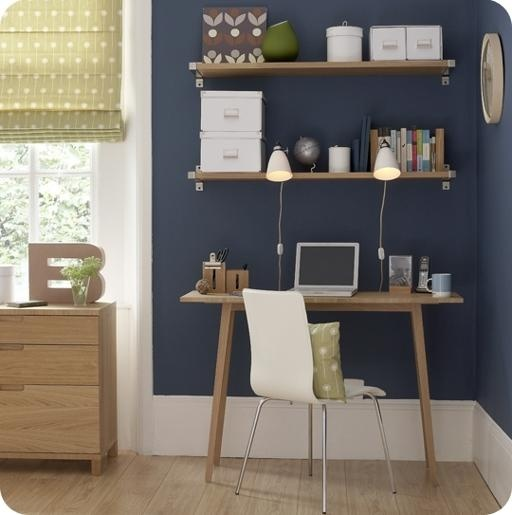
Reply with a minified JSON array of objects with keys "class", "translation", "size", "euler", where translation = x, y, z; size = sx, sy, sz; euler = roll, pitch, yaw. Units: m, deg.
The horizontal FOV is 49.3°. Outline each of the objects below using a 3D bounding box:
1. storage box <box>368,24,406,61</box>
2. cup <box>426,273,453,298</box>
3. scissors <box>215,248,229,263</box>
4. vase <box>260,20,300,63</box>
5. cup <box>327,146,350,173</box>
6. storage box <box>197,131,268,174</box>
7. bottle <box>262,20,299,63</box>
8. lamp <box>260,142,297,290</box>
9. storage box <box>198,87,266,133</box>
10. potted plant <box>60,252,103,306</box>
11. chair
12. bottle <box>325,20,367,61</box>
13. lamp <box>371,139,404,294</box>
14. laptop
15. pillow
[{"class":"storage box","translation":[0.691,-1.053,2.941],"size":[0.186,0.181,0.215],"euler":[1,-15,9]},{"class":"cup","translation":[0.877,0.142,2.706],"size":[0.149,0.168,0.104],"euler":[0,-3,24]},{"class":"scissors","translation":[-0.173,0.004,2.892],"size":[0.017,0.074,0.065],"euler":[18,1,-35]},{"class":"vase","translation":[0.127,-1.100,2.863],"size":[0.158,0.215,0.193],"euler":[1,6,3]},{"class":"cup","translation":[0.427,-0.493,2.925],"size":[0.112,0.160,0.128],"euler":[0,-3,7]},{"class":"storage box","translation":[-0.124,-0.541,2.889],"size":[0.210,0.169,0.240],"euler":[0,2,1]},{"class":"bottle","translation":[0.129,-1.096,2.951],"size":[0.206,0.262,0.219],"euler":[-1,4,0]},{"class":"lamp","translation":[0.118,-0.200,2.894],"size":[0.141,0.782,0.325],"euler":[0,3,2]},{"class":"storage box","translation":[-0.127,-0.747,2.881],"size":[0.207,0.167,0.237],"euler":[1,6,5]},{"class":"potted plant","translation":[-0.887,0.126,2.850],"size":[0.215,0.297,0.212],"euler":[-3,-6,37]},{"class":"chair","translation":[0.215,0.612,2.487],"size":[0.584,0.967,0.523],"euler":[-1,3,-19]},{"class":"bottle","translation":[0.471,-1.109,2.945],"size":[0.182,0.236,0.193],"euler":[-1,0,0]},{"class":"lamp","translation":[0.662,-0.196,2.822],"size":[0.136,0.782,0.378],"euler":[0,3,14]},{"class":"laptop","translation":[0.338,0.040,2.774],"size":[0.338,0.325,0.318],"euler":[-3,-13,22]},{"class":"pillow","translation":[0.299,0.430,2.338],"size":[0.153,0.323,0.137],"euler":[0,3,7]}]
